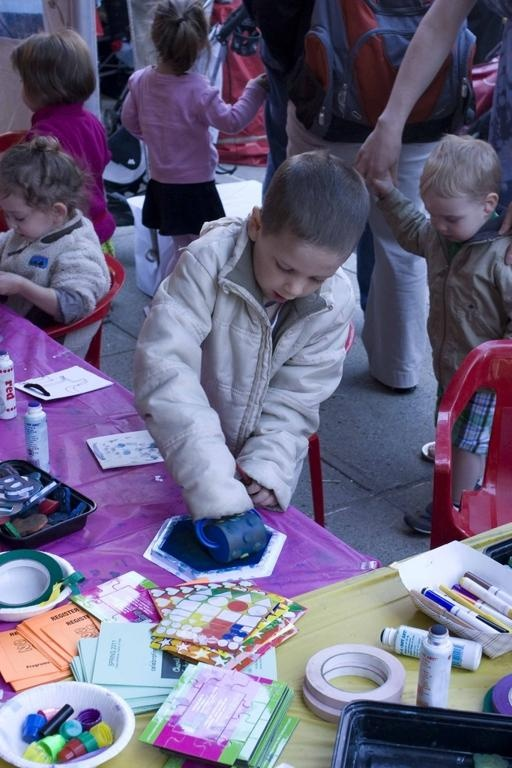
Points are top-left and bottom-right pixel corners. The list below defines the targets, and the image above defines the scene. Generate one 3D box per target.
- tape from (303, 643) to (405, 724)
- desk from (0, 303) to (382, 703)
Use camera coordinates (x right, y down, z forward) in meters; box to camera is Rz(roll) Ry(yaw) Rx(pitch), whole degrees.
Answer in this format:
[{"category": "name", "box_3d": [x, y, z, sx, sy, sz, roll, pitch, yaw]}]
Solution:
[{"category": "tape", "box_3d": [0.125, 0.375, 0.846, 0.129, 0.041, 0.125, 2, 12, 4]}, {"category": "desk", "box_3d": [-0.197, 0.236, 1.432, 0.543, 0.182, 0.772, -15, 40, -29]}]
